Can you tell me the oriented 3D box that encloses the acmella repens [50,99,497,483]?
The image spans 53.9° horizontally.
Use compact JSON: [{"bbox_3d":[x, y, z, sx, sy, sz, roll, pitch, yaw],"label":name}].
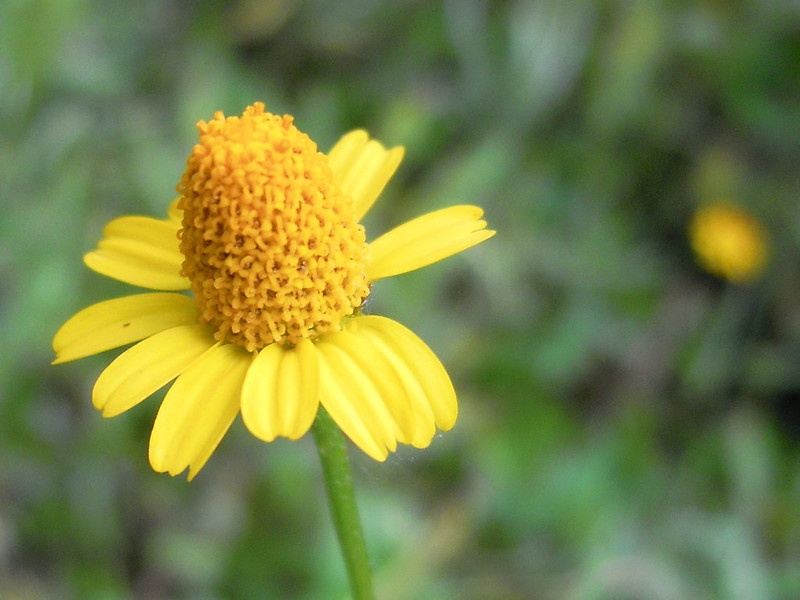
[{"bbox_3d":[-0.178,0.066,1.251,0.558,0.292,0.557,43,80,10],"label":"acmella repens"}]
